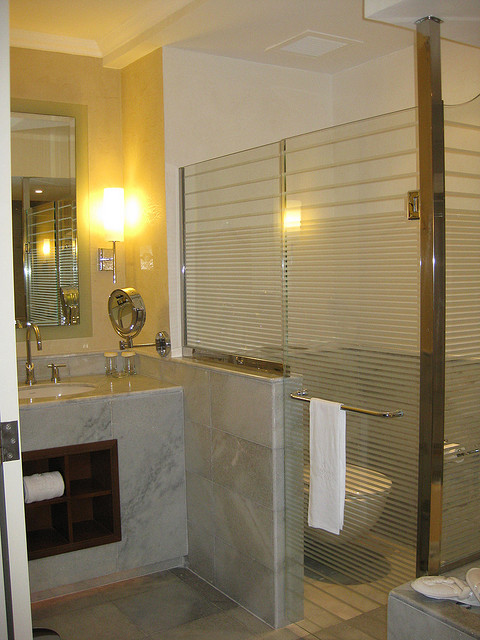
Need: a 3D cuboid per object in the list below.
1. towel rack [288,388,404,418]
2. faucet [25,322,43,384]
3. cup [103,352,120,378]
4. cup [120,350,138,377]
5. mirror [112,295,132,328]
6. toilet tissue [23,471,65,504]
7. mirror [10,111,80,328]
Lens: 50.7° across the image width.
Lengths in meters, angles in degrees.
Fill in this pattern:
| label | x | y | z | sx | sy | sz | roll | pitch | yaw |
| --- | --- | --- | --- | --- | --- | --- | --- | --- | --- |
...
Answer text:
| label | x | y | z | sx | sy | sz | roll | pitch | yaw |
| --- | --- | --- | --- | --- | --- | --- | --- | --- | --- |
| towel rack | 0.324 | 0.275 | 1.675 | 0.035 | 0.052 | 0.549 | -4 | 3 | -29 |
| faucet | -1.097 | 0.171 | 2.671 | 0.081 | 0.317 | 0.362 | -3 | 3 | -24 |
| cup | -0.743 | 0.252 | 2.930 | 0.089 | 0.131 | 0.200 | -3 | 3 | -15 |
| cup | -0.637 | 0.249 | 2.924 | 0.114 | 0.206 | 0.123 | 0 | -1 | 0 |
| mirror | -0.637 | -0.050 | 2.721 | 0.034 | 0.155 | 0.157 | -10 | -38 | -26 |
| toilet tissue | -0.822 | 0.713 | 2.128 | 0.162 | 0.113 | 0.157 | -4 | 3 | -26 |
| mirror | -1.095 | -0.558 | 2.855 | 0.377 | 1.191 | 0.067 | -4 | 4 | -39 |
